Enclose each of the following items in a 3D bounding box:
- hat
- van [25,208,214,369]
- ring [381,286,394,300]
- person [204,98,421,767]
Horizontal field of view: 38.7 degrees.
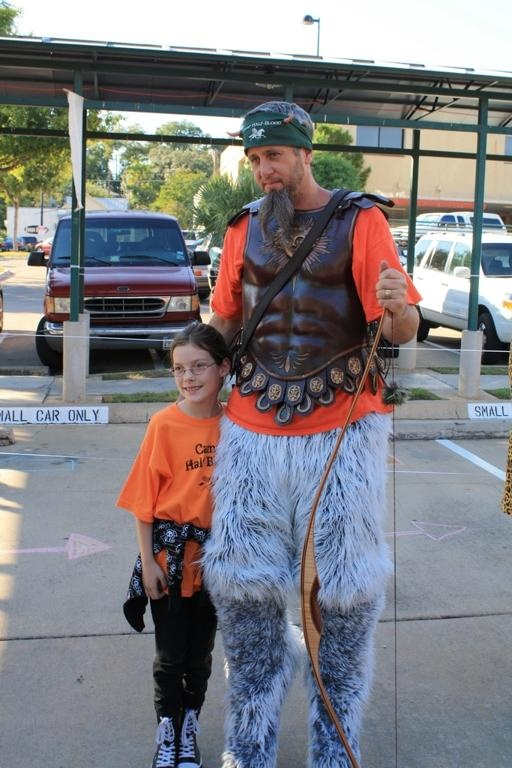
[{"bbox_3d":[0.060,-0.662,1.902,0.164,0.102,0.133,-7,11,-32],"label":"hat"},{"bbox_3d":[-1.724,-1.389,9.333,1.754,1.372,2.871,-1,5,-6],"label":"van"},{"bbox_3d":[0.307,-0.213,1.715,0.025,0.022,0.011,3,8,11],"label":"ring"},{"bbox_3d":[0.115,0.182,1.966,0.575,1.846,0.489,4,8,16],"label":"person"}]
